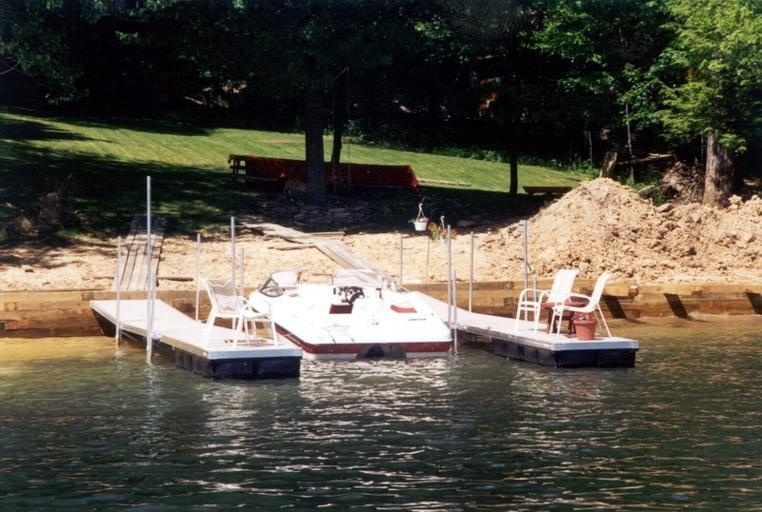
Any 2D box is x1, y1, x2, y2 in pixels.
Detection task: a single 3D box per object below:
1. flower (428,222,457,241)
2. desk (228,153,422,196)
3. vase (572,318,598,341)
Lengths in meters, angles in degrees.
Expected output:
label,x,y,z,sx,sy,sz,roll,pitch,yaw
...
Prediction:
label,x,y,z,sx,sy,sz,roll,pitch,yaw
flower,2.344,-0.912,38.498,1.066,0.446,0.895,-1,8,-29
desk,-2.758,-3.939,47.517,8.219,1.847,4.060,0,0,-7
vase,5.380,1.981,26.841,0.584,0.557,0.551,1,1,10
